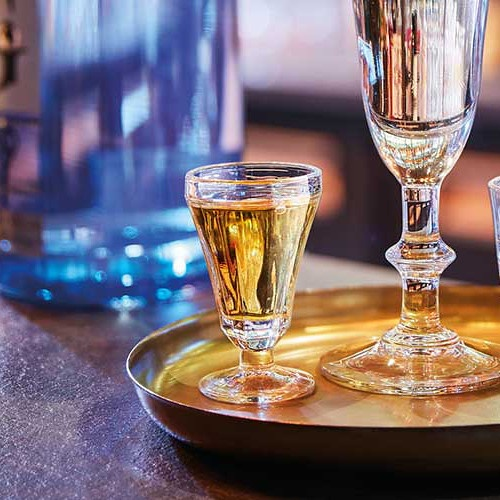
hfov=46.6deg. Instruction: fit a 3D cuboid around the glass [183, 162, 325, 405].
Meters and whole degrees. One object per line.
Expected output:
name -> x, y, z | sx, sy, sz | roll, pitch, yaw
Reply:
glass -> 0.013, 0.023, 0.348 | 0.100, 0.129, 0.087 | 2, 8, -4
